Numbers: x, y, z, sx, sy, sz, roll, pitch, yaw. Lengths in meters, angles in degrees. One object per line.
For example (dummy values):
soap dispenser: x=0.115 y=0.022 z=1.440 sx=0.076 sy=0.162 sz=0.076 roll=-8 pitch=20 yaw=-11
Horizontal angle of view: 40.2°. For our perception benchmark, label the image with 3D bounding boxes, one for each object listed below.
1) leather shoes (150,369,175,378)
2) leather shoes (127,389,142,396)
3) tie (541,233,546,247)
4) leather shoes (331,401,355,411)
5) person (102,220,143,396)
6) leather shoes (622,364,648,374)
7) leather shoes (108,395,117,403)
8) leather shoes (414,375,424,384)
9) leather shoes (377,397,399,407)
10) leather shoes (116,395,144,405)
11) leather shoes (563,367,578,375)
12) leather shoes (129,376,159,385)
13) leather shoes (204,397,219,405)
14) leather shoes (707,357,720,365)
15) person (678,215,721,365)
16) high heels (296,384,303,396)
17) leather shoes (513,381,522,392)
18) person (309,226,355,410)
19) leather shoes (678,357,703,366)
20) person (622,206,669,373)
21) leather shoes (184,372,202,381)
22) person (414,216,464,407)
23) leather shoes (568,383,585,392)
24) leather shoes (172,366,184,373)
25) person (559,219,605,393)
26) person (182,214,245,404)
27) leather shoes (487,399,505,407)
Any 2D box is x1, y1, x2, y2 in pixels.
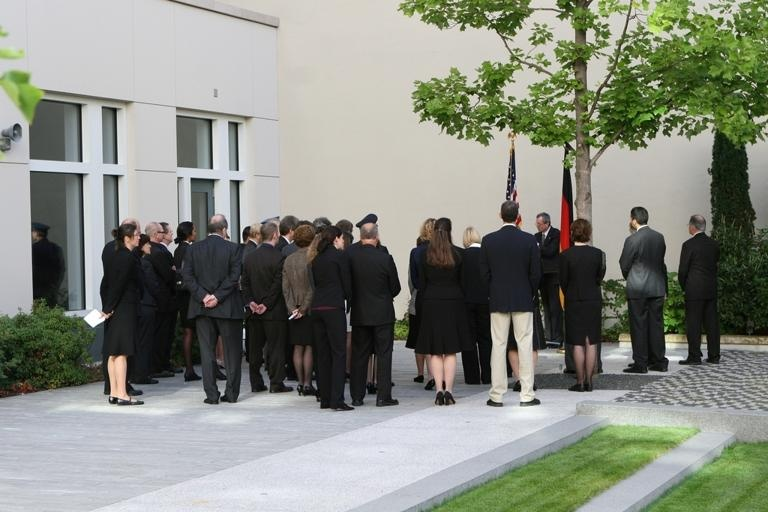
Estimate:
leather shoes: x=-3.265 y=1.745 z=15.427 sx=0.303 sy=0.116 sz=0.105 roll=0 pitch=-4 yaw=-10
leather shoes: x=-3.274 y=1.816 z=13.788 sx=0.199 sy=0.078 sz=0.067 roll=-2 pitch=-4 yaw=14
tie: x=2.403 y=-0.251 z=15.798 sx=0.037 sy=0.148 sz=0.111 roll=23 pitch=10 yaw=-3
leather shoes: x=-0.504 y=1.869 z=12.952 sx=0.290 sy=0.113 sz=0.103 roll=1 pitch=-2 yaw=-23
person: x=-3.396 y=0.737 z=13.538 sx=0.483 sy=2.361 sz=0.631 roll=-2 pitch=-4 yaw=-16
leather shoes: x=3.360 y=1.532 z=14.054 sx=0.129 sy=0.141 sz=0.358 roll=-3 pitch=4 yaw=-38
leather shoes: x=-3.448 y=1.843 z=13.333 sx=0.146 sy=0.098 sz=0.061 roll=-6 pitch=-5 yaw=42
leather shoes: x=0.492 y=1.750 z=14.776 sx=0.137 sy=0.091 sz=0.072 roll=4 pitch=0 yaw=40
leather shoes: x=0.046 y=1.847 z=13.126 sx=0.286 sy=0.124 sz=0.103 roll=-1 pitch=1 yaw=-26
leather shoes: x=-3.241 y=1.858 z=13.367 sx=0.332 sy=0.087 sz=0.123 roll=-1 pitch=-1 yaw=-15
leather shoes: x=2.489 y=1.553 z=14.011 sx=0.059 sy=0.111 sz=0.177 roll=-3 pitch=9 yaw=-37
leather shoes: x=-3.351 y=1.768 z=14.759 sx=0.340 sy=0.130 sz=0.114 roll=0 pitch=-4 yaw=-7
leather shoes: x=-2.206 y=1.859 z=13.384 sx=0.215 sy=0.097 sz=0.119 roll=-3 pitch=-4 yaw=9
leather shoes: x=4.631 y=1.486 z=14.725 sx=0.167 sy=0.103 sz=0.182 roll=-3 pitch=-4 yaw=12
person: x=4.466 y=0.491 z=14.859 sx=0.620 sy=2.097 sz=0.348 roll=-4 pitch=-4 yaw=15
high heels: x=-1.101 y=1.793 z=13.905 sx=0.060 sy=0.137 sz=0.079 roll=-11 pitch=14 yaw=-43
leather shoes: x=1.749 y=1.718 z=13.726 sx=0.096 sy=0.147 sz=0.156 roll=0 pitch=-10 yaw=7
person: x=-0.639 y=0.785 z=12.991 sx=0.502 sy=2.277 sz=0.294 roll=-3 pitch=-4 yaw=7
leather shoes: x=4.331 y=1.501 z=14.764 sx=0.318 sy=0.133 sz=0.123 roll=1 pitch=-1 yaw=11
person: x=3.515 y=0.464 z=14.146 sx=0.680 sy=2.233 sz=0.495 roll=-3 pitch=-4 yaw=-1
leather shoes: x=-2.738 y=1.759 z=15.059 sx=0.262 sy=0.105 sz=0.094 roll=-2 pitch=-1 yaw=-20
person: x=0.706 y=0.688 z=12.969 sx=0.621 sy=2.331 sz=0.342 roll=-3 pitch=-4 yaw=2
leather shoes: x=2.507 y=1.726 z=13.606 sx=0.082 sy=0.081 sz=0.207 roll=0 pitch=1 yaw=-27
leather shoes: x=-3.096 y=1.728 z=15.730 sx=0.168 sy=0.064 sz=0.063 roll=-8 pitch=-9 yaw=39
person: x=2.560 y=0.611 z=13.403 sx=0.558 sy=2.161 sz=0.366 roll=-3 pitch=-4 yaw=9
person: x=-2.183 y=0.686 z=13.484 sx=0.764 sy=2.445 sz=0.357 roll=-2 pitch=-4 yaw=-9
leather shoes: x=1.365 y=1.816 z=12.872 sx=0.192 sy=0.093 sz=0.147 roll=-3 pitch=-4 yaw=5
